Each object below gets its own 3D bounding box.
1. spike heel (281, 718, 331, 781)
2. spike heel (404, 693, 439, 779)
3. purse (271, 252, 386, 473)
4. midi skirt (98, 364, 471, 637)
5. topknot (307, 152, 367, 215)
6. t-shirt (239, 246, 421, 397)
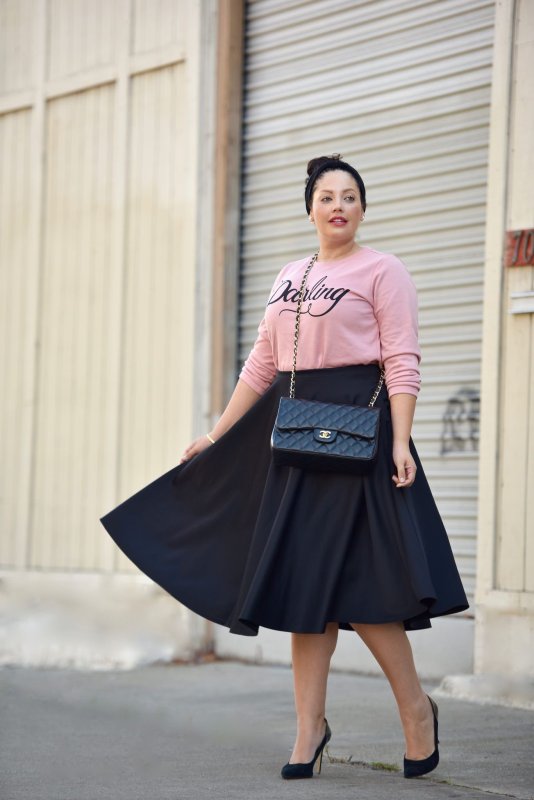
[{"bbox_3d":[0.109,1.029,3.144,0.201,0.140,0.068,7,-18,-45],"label":"spike heel"},{"bbox_3d":[0.453,0.981,3.175,0.091,0.247,0.110,2,-12,12],"label":"spike heel"},{"bbox_3d":[0.205,-0.111,3.244,0.314,0.688,0.073,7,-32,3],"label":"purse"},{"bbox_3d":[0.094,0.305,3.261,1.076,0.790,0.474,3,11,7],"label":"midi skirt"},{"bbox_3d":[0.215,-0.676,3.445,0.179,0.207,0.112,0,4,5],"label":"topknot"},{"bbox_3d":[0.204,-0.222,3.342,0.679,0.518,0.264,5,7,43],"label":"t-shirt"}]
